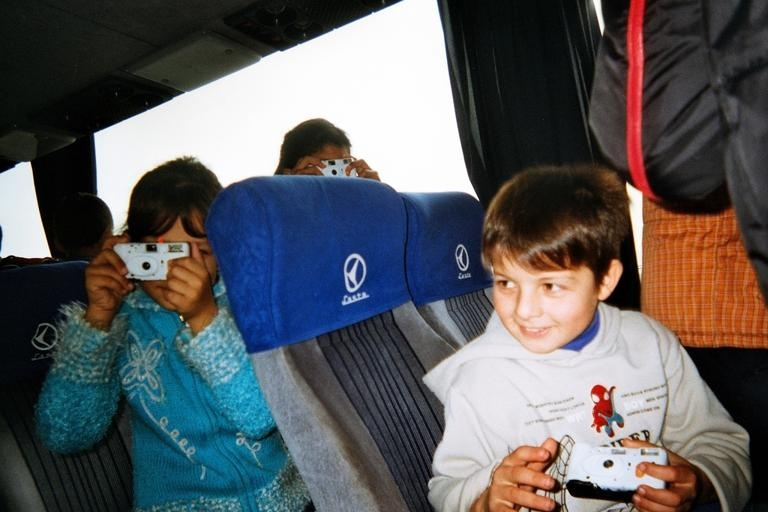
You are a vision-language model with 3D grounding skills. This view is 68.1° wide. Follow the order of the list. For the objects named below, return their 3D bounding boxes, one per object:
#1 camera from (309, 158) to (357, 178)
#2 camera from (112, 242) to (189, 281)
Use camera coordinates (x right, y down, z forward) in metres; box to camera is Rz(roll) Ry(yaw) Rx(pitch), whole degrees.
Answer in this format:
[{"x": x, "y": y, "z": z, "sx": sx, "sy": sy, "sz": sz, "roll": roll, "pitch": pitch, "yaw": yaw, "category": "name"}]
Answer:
[{"x": -0.226, "y": -0.380, "z": 2.464, "sx": 0.165, "sy": 0.168, "sz": 0.053, "roll": -6, "pitch": -43, "yaw": -16, "category": "camera"}, {"x": -0.674, "y": 0.016, "z": 1.656, "sx": 0.222, "sy": 0.118, "sz": 0.042, "roll": -1, "pitch": 8, "yaw": 9, "category": "camera"}]
